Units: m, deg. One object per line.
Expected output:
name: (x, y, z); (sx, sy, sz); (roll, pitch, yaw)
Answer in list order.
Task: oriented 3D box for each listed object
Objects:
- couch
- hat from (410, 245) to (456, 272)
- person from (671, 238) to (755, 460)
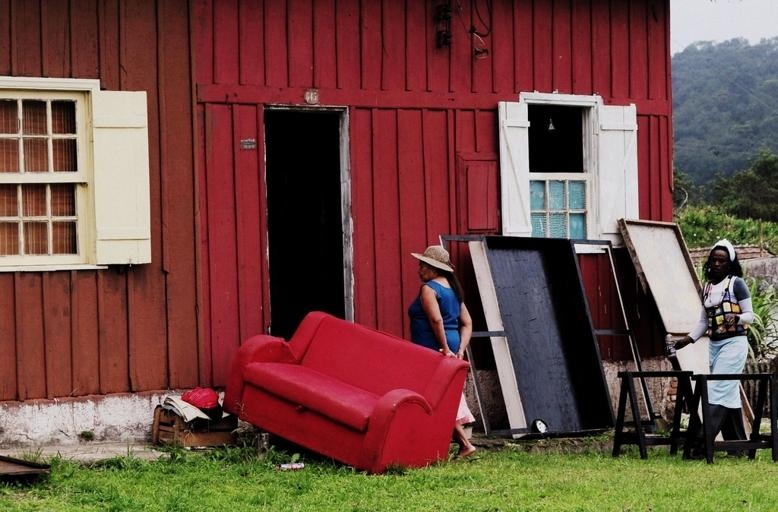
couch: (-0.533, 1.520, 16.515); (2.522, 1.165, 1.489); (19, 17, 41)
hat: (0.529, 0.075, 16.555); (0.363, 0.141, 0.345); (19, 2, 7)
person: (3.813, 1.064, 16.650); (0.819, 2.497, 0.753); (-3, -4, 3)
